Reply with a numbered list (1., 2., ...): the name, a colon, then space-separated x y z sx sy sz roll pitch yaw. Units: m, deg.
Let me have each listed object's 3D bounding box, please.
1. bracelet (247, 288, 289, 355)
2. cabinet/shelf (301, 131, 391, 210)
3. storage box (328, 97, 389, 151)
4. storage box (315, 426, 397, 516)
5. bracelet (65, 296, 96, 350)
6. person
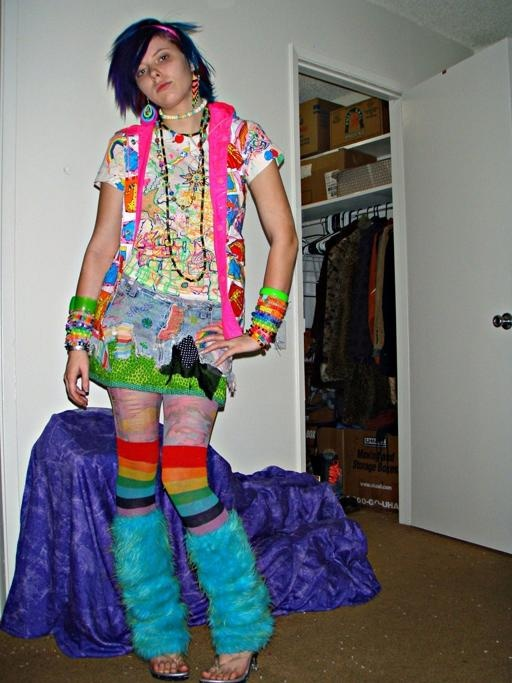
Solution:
1. bracelet: 0.023 -0.046 1.307 0.080 0.133 0.056 18 -11 4
2. cabinet/shelf: 0.618 -1.029 3.686 0.250 0.282 0.771 -9 6 -39
3. storage box: 0.633 -1.331 3.664 0.339 0.204 0.176 -1 13 40
4. storage box: 0.579 0.773 3.688 0.355 0.441 0.617 2 -11 -12
5. bracelet: -0.395 -0.040 1.358 0.075 0.117 0.052 6 -3 4
6. person: -0.181 -0.024 1.360 0.533 1.564 0.290 0 -5 -2
